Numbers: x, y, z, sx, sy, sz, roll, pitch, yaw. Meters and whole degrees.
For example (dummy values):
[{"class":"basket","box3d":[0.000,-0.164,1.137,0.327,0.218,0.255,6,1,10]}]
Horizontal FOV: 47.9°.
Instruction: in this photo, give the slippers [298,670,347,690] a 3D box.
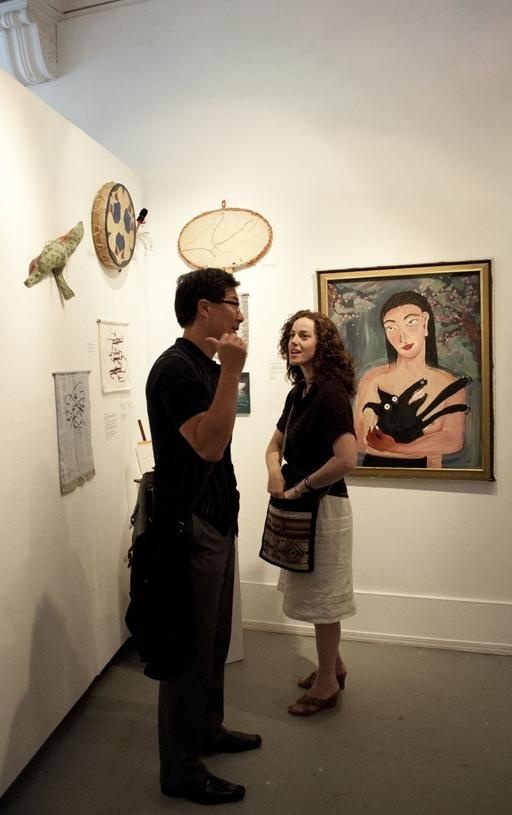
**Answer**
[{"class":"slippers","box3d":[0.268,1.115,2.414,0.178,0.067,0.085,2,-5,-7]}]

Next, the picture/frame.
[{"class":"picture/frame","box3d":[0.703,-0.213,2.783,0.790,1.147,0.043,-1,-25,15]}]

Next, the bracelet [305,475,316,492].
[{"class":"bracelet","box3d":[0.192,0.269,2.057,0.018,0.050,0.040,2,-7,21]}]

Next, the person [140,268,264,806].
[{"class":"person","box3d":[-0.160,0.397,1.724,0.329,1.411,0.638,-1,0,-1]}]

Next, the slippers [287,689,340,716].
[{"class":"slippers","box3d":[0.220,1.127,2.245,0.160,0.065,0.081,0,-4,-15]}]

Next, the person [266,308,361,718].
[{"class":"person","box3d":[0.210,0.394,2.244,0.337,1.222,0.510,-1,0,1]}]

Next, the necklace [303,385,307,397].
[{"class":"necklace","box3d":[0.193,-0.068,2.303,0.022,0.035,0.012,-1,-34,1]}]
